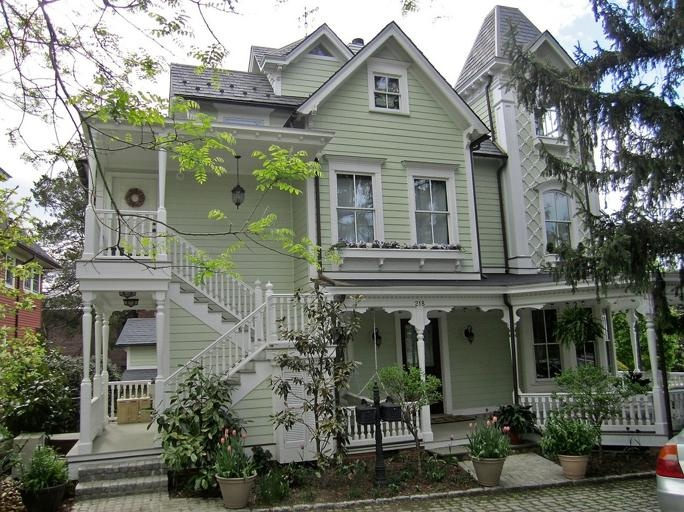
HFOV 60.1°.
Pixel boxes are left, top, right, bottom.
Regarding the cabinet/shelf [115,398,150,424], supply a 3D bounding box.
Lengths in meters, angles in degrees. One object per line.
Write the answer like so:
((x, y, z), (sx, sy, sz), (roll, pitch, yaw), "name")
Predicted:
((-5.249, 3.924, 14.990), (0.815, 0.623, 0.594), (4, -14, -27), "cabinet/shelf")

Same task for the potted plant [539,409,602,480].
((4.637, 3.879, 12.034), (1.111, 1.219, 0.632), (-7, -13, 21), "potted plant")

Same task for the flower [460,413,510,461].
((2.910, 3.746, 12.049), (0.954, 0.929, 0.950), (15, -22, -43), "flower")

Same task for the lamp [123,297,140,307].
((-4.916, 1.083, 13.794), (0.306, 0.159, 0.319), (-1, -17, -3), "lamp")

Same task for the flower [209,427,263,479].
((-1.963, 3.815, 11.335), (0.764, 1.006, 0.980), (0, -22, -4), "flower")

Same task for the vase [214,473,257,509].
((-1.903, 4.376, 10.863), (0.564, 0.403, 0.593), (-4, -32, 7), "vase")

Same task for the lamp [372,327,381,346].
((0.987, 2.174, 15.951), (0.315, 0.473, 0.107), (0, -4, -29), "lamp")

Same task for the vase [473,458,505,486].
((2.858, 4.197, 11.508), (0.523, 0.394, 0.548), (2, -26, -1), "vase")
